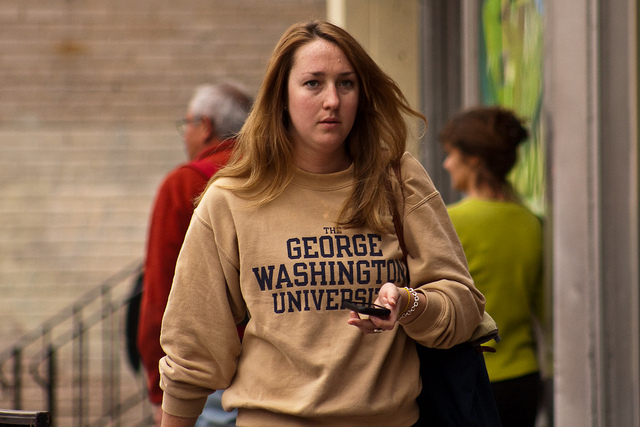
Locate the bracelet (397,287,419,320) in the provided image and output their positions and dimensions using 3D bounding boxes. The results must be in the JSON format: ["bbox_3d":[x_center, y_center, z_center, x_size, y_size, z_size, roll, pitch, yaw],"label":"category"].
[{"bbox_3d":[0.539,0.549,7.773,0.046,0.174,0.137,31,6,-39],"label":"bracelet"}]
